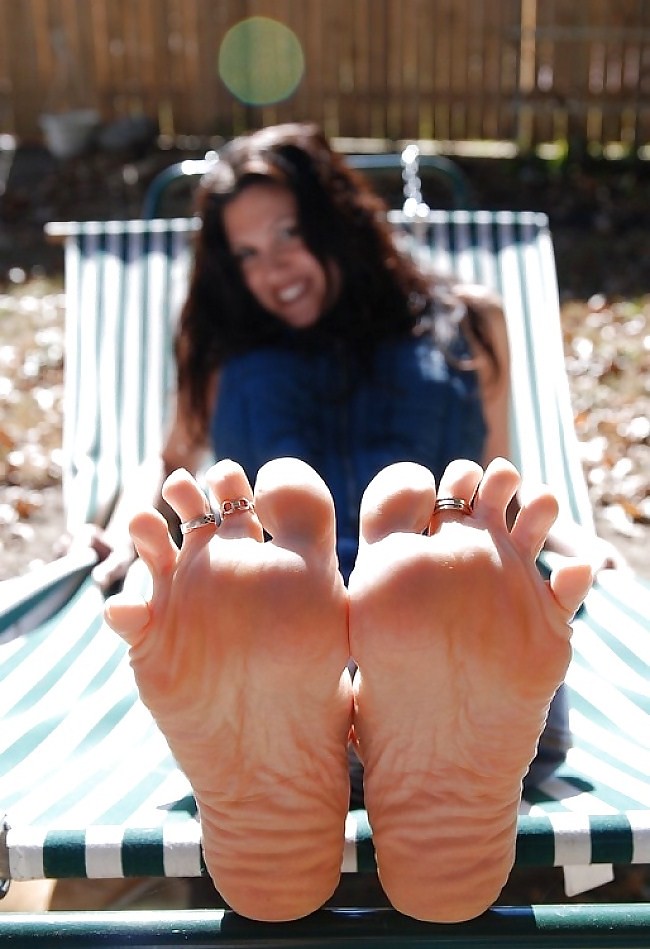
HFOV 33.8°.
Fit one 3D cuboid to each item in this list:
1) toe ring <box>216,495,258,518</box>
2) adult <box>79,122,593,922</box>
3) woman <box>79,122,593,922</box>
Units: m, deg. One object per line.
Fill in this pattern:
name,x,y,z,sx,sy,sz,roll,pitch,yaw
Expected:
toe ring,-0.097,0.037,1.180,0.039,0.020,0.026,-4,14,-4
adult,0.018,-0.161,1.839,0.721,0.689,1.103,0,43,1
woman,0.010,-0.055,1.752,0.721,0.689,1.103,0,43,1
